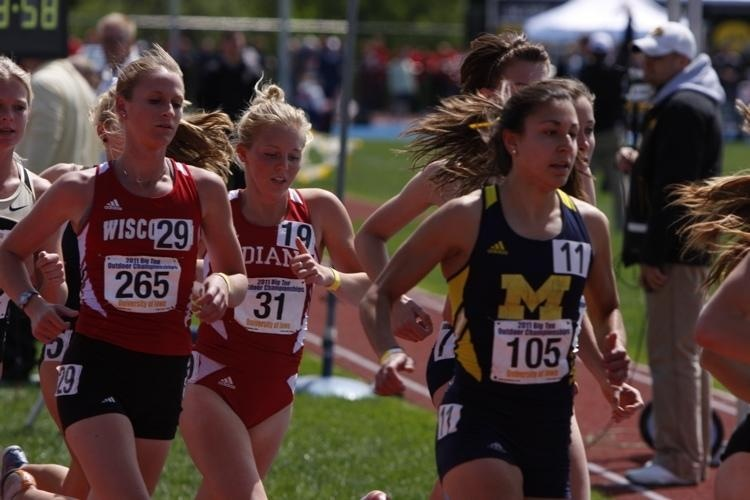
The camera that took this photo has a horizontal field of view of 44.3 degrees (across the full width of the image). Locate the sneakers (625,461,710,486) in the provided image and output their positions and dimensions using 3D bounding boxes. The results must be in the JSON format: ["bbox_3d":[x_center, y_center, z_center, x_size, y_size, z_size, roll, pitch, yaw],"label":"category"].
[{"bbox_3d":[2.166,1.615,6.778,0.520,0.231,0.183,3,1,24],"label":"sneakers"}]

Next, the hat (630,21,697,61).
[{"bbox_3d":[2.216,-1.548,6.830,0.279,0.260,0.601,-4,10,-33],"label":"hat"}]
